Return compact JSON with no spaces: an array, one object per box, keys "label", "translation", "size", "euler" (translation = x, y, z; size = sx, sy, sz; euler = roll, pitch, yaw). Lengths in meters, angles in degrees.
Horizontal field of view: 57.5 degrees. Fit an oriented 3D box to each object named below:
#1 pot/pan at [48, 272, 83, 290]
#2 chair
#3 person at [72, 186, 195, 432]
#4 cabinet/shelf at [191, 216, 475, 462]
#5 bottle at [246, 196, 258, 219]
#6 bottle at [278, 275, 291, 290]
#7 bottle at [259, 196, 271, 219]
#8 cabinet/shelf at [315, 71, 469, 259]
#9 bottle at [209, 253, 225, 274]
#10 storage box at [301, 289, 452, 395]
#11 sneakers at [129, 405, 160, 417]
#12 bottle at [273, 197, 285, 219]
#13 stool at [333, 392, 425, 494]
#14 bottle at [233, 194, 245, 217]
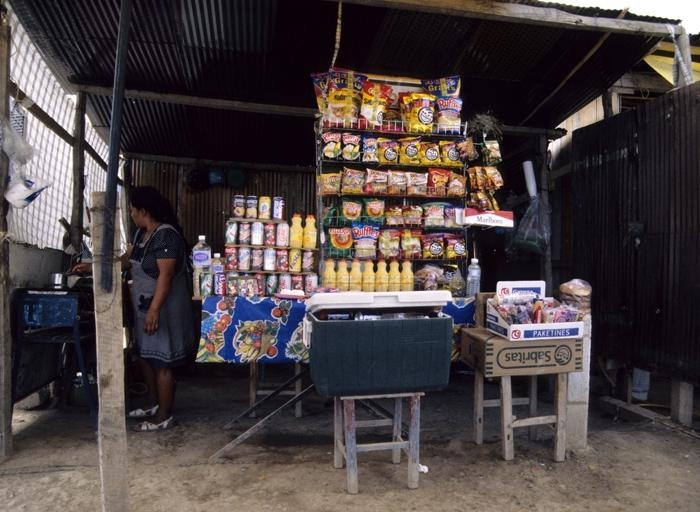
[{"label":"pot/pan","translation":[-2.919,0.257,6.538],"size":[0.283,0.151,0.162],"euler":[4,-8,-15]},{"label":"chair","translation":[1.586,1.163,6.063],"size":[1.109,1.331,1.060],"euler":[-1,0,-32]},{"label":"person","translation":[-1.887,0.512,6.337],"size":[0.695,2.360,0.710],"euler":[-5,12,-25]},{"label":"cabinet/shelf","translation":[-0.489,0.460,6.805],"size":[2.671,2.006,2.062],"euler":[0,-3,-7]},{"label":"bottle","translation":[-1.003,-0.505,6.522],"size":[0.129,0.213,0.205],"euler":[-1,11,-9]},{"label":"bottle","translation":[-0.648,0.261,6.427],"size":[0.127,0.242,0.134],"euler":[1,0,0]},{"label":"bottle","translation":[-0.870,-0.500,6.557],"size":[0.136,0.224,0.198],"euler":[-1,11,-8]},{"label":"cabinet/shelf","translation":[0.437,-0.968,6.978],"size":[1.838,2.335,0.737],"euler":[1,-6,-11]},{"label":"bottle","translation":[-1.353,0.081,6.448],"size":[0.161,0.321,0.176],"euler":[-1,-6,0]},{"label":"storage box","translation":[0.280,0.697,5.391],"size":[1.107,0.863,0.762],"euler":[-1,0,-1]},{"label":"sneakers","translation":[-2.094,1.580,6.522],"size":[0.355,0.113,0.153],"euler":[5,-7,-19]},{"label":"bottle","translation":[-0.738,-0.496,6.567],"size":[0.122,0.218,0.145],"euler":[-1,11,-8]},{"label":"stool","translation":[0.233,1.529,5.522],"size":[0.852,0.992,0.908],"euler":[2,-24,-5]},{"label":"bottle","translation":[-1.113,-0.499,6.428],"size":[0.107,0.208,0.089],"euler":[-3,12,-17]}]
